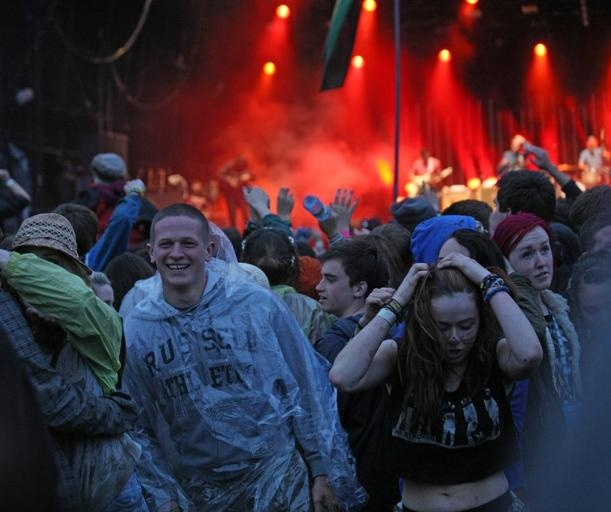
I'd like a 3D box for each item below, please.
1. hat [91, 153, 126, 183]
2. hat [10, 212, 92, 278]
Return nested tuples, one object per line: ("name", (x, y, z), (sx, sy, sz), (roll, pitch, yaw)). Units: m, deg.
("hat", (-1.532, -0.688, 5.829), (0.212, 0.219, 0.242), (-8, 12, -36))
("hat", (-1.022, -0.069, 3.056), (0.253, 0.142, 0.199), (32, -14, -34))
